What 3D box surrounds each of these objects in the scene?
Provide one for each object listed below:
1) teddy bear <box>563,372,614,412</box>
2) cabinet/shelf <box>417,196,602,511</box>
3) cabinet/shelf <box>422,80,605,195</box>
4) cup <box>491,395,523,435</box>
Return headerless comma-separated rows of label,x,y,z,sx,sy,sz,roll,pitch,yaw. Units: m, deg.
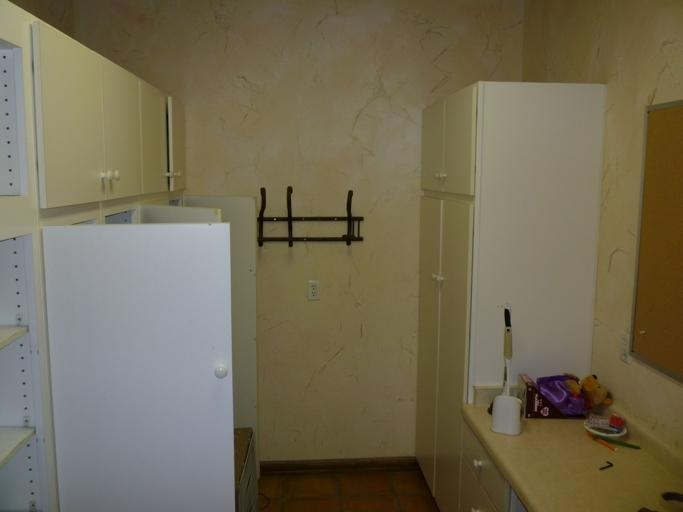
teddy bear,1.165,0.651,2.693,0.196,0.169,0.143,3,5,4
cabinet/shelf,0.720,0.548,3.097,0.546,1.771,1.093,-1,6,-32
cabinet/shelf,0.744,-0.579,2.948,0.520,0.554,1.031,-2,7,-37
cup,0.734,0.710,2.613,0.124,0.176,0.156,1,10,1
